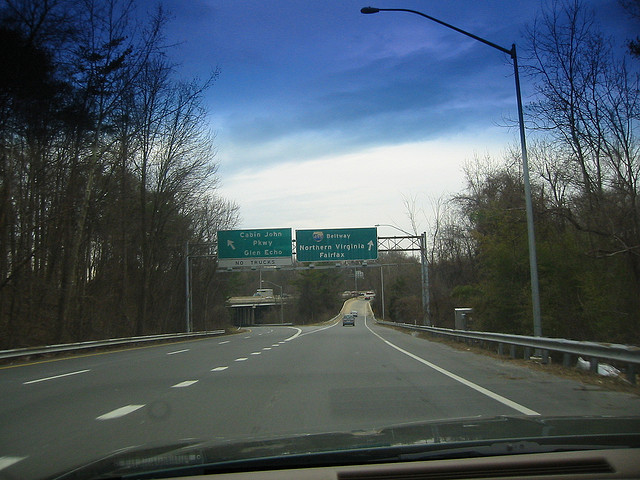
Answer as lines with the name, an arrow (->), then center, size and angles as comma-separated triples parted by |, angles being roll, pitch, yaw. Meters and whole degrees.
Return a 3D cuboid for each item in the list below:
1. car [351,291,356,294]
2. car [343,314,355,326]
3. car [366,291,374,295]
car -> 9.646, 15.354, 198.964 | 1.090, 1.021, 5.898 | -3, -7, 3
car -> 3.501, 9.947, 83.863 | 1.135, 0.922, 2.700 | 0, 3, 5
car -> 13.459, 14.259, 182.772 | 1.414, 0.698, 2.309 | 2, 4, 11
